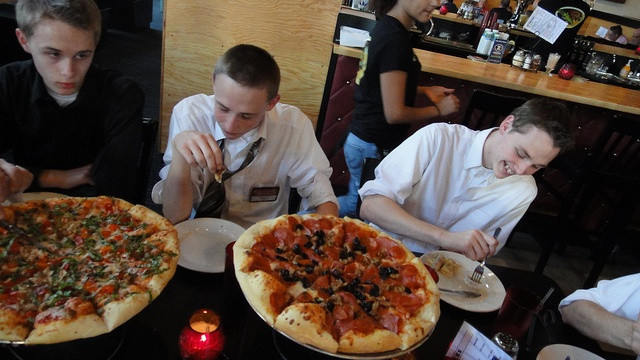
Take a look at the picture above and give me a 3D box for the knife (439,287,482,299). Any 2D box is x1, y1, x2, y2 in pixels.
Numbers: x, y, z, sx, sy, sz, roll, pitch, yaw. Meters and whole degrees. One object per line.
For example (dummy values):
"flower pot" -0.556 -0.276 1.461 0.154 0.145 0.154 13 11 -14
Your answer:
"knife" 0.764 0.620 2.206 0.245 0.010 0.029 10 56 2

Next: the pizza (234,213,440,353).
"pizza" 0.087 0.491 2.014 0.719 0.099 0.724 34 35 24

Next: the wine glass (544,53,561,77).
"wine glass" 2.627 -1.332 4.573 0.110 0.205 0.351 23 29 22

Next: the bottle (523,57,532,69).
"bottle" 2.275 -1.296 4.428 0.078 0.132 0.100 32 33 34

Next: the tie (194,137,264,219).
"tie" -0.578 -0.035 2.500 0.122 0.510 0.147 26 -10 -2

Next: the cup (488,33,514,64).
"cup" 2.085 -1.554 4.704 0.221 0.392 0.108 19 5 16

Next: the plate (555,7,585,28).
"plate" 2.941 -1.931 4.760 0.338 0.238 0.102 9 27 -3

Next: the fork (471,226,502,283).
"fork" 0.983 0.436 2.397 0.056 0.067 0.379 27 70 8

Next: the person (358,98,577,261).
"person" 1.016 -0.061 2.898 0.925 1.425 0.781 35 43 -24

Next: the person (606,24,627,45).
"person" 5.511 -2.710 7.429 0.297 0.273 0.801 23 29 22

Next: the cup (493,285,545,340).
"cup" 1.019 0.694 2.075 0.202 0.294 0.194 8 30 -5

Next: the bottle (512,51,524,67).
"bottle" 2.216 -1.367 4.491 0.115 0.176 0.187 19 28 16
